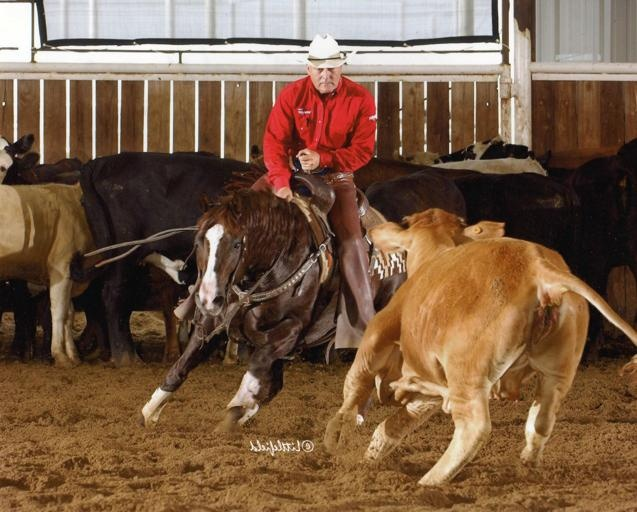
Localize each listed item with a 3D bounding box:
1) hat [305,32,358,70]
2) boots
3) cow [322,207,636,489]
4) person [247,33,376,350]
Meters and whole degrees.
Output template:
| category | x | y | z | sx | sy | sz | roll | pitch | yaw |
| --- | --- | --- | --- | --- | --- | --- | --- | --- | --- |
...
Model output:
| category | x | y | z | sx | sy | sz | roll | pitch | yaw |
| --- | --- | --- | --- | --- | --- | --- | --- | --- | --- |
| hat | 0.099 | -1.579 | 9.608 | 0.294 | 0.150 | 0.383 | -3 | -1 | 7 |
| boots | 0.335 | 0.217 | 9.661 | 0.198 | 0.862 | 0.409 | -2 | -2 | 6 |
| cow | 1.084 | 0.762 | 8.659 | 1.746 | 1.737 | 0.687 | 5 | 14 | 18 |
| person | 0.042 | -0.571 | 9.844 | 1.020 | 2.315 | 1.161 | -14 | 21 | -39 |
